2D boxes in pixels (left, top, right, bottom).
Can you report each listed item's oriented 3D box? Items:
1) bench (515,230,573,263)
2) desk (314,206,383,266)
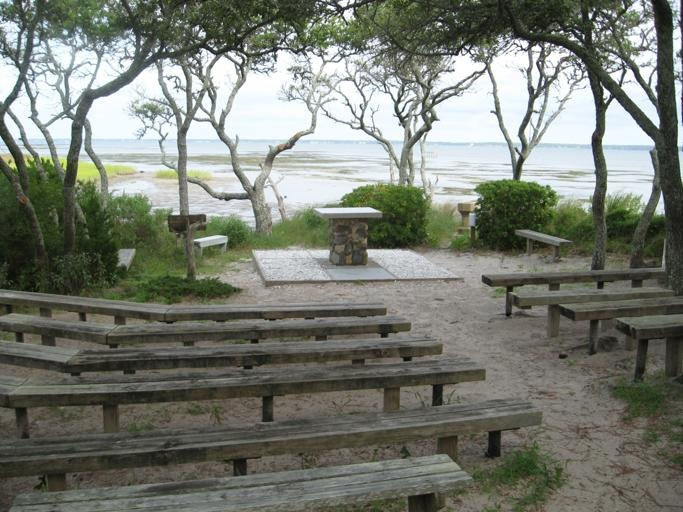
[{"bbox_3d":[5.309,-0.327,15.566,1.241,0.693,2.121,-2,6,-3],"label":"bench"},{"bbox_3d":[0.207,-0.510,14.291,1.668,1.207,1.447,-1,10,-9],"label":"desk"}]
